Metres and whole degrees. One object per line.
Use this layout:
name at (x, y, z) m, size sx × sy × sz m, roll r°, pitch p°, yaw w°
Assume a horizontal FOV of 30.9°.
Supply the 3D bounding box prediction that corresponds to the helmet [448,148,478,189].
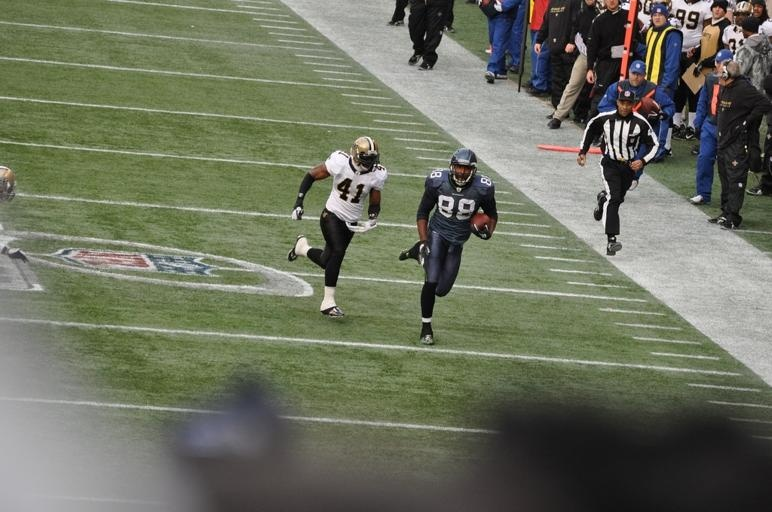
helmet at (0.974, -1.148, 17.748) m, size 0.392 × 0.440 × 0.517 m, roll 4°, pitch 8°, yaw 4°

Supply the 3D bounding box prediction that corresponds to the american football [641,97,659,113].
american football at (4.034, -2.322, 21.570) m, size 0.230 × 0.213 × 0.345 m, roll 17°, pitch 24°, yaw 29°

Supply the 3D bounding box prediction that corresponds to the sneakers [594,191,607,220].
sneakers at (3.143, -0.753, 20.713) m, size 0.168 × 0.422 × 0.219 m, roll 13°, pitch 3°, yaw 35°

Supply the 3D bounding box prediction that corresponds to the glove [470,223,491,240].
glove at (1.200, -0.305, 17.735) m, size 0.223 × 0.273 × 0.287 m, roll 6°, pitch 21°, yaw 4°

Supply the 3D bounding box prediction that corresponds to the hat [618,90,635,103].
hat at (3.519, -2.349, 20.439) m, size 0.243 × 0.165 × 0.321 m, roll 6°, pitch 20°, yaw 4°

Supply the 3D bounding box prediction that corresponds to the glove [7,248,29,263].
glove at (-4.767, -0.015, 18.134) m, size 0.218 × 0.060 × 0.150 m, roll 23°, pitch 50°, yaw -15°

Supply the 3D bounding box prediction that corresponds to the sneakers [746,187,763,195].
sneakers at (6.078, -1.061, 23.035) m, size 0.291 × 0.105 × 0.100 m, roll 14°, pitch -5°, yaw 17°

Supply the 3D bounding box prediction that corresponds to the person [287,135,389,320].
person at (-0.551, -0.411, 18.008) m, size 1.097 × 2.259 × 1.263 m, roll -3°, pitch 24°, yaw -20°

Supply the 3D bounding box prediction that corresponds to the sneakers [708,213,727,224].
sneakers at (5.126, -0.570, 21.659) m, size 0.331 × 0.115 × 0.102 m, roll 3°, pitch 8°, yaw 13°

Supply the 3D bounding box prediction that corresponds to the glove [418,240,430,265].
glove at (0.476, -0.040, 17.767) m, size 0.128 × 0.307 × 0.202 m, roll 3°, pitch -20°, yaw -3°

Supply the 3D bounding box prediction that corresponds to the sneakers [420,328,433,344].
sneakers at (0.522, 1.022, 17.677) m, size 0.167 × 0.179 × 0.132 m, roll 4°, pitch 22°, yaw -2°

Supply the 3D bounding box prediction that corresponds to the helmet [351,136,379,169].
helmet at (-0.269, -1.342, 17.862) m, size 0.344 × 0.349 × 0.452 m, roll -3°, pitch 28°, yaw -30°

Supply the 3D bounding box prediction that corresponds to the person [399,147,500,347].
person at (0.773, -0.175, 17.827) m, size 0.997 × 2.365 × 1.243 m, roll 22°, pitch 27°, yaw 34°

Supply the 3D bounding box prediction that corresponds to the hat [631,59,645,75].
hat at (3.834, -2.884, 21.326) m, size 0.211 × 0.211 × 0.358 m, roll 7°, pitch 21°, yaw 7°

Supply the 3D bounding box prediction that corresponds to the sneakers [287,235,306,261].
sneakers at (-1.216, -0.101, 18.998) m, size 0.152 × 0.346 × 0.125 m, roll 17°, pitch 32°, yaw -38°

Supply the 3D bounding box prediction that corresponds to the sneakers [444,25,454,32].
sneakers at (1.453, -5.312, 32.570) m, size 0.223 × 0.210 × 0.596 m, roll -2°, pitch 6°, yaw -2°

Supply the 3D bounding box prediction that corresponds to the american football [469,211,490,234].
american football at (1.187, -0.436, 17.712) m, size 0.200 × 0.175 × 0.233 m, roll -4°, pitch -5°, yaw 3°

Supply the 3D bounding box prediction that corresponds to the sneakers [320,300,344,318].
sneakers at (-0.685, 0.684, 17.929) m, size 0.305 × 0.236 × 0.321 m, roll 3°, pitch 21°, yaw -4°

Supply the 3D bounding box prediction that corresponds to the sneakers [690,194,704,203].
sneakers at (4.984, -0.924, 22.448) m, size 0.143 × 0.096 × 0.238 m, roll -3°, pitch -5°, yaw 14°
